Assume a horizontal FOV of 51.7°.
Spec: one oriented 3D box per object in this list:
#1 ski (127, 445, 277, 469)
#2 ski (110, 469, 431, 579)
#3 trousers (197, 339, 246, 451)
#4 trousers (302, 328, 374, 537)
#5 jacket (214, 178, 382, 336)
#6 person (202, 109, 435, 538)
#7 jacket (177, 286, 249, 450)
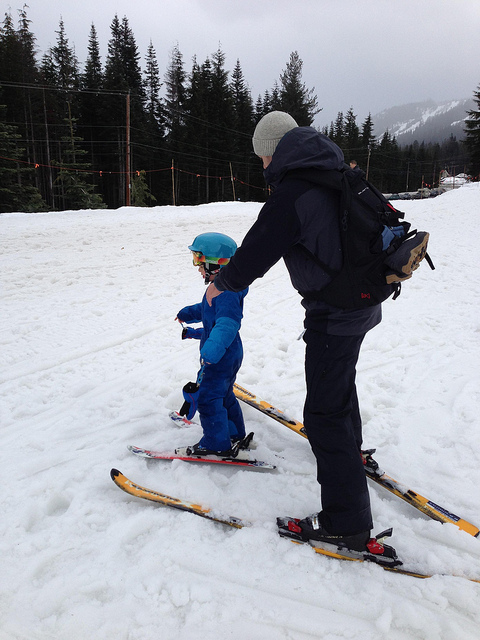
[{"bbox_3d":[-0.261,0.879,3.147,0.757,0.078,0.088,4,16,5],"label":"ski"},{"bbox_3d":[0.138,1.047,2.500,1.499,0.178,0.169,14,6,21],"label":"ski"},{"bbox_3d":[-0.167,0.465,3.290,0.565,0.612,0.423,0,23,-13],"label":"trousers"},{"bbox_3d":[0.470,0.461,2.425,0.367,1.207,0.350,7,-10,0],"label":"trousers"},{"bbox_3d":[0.275,-0.267,2.320,0.557,0.740,0.604,7,21,19],"label":"jacket"},{"bbox_3d":[0.407,0.088,2.357,0.847,1.942,0.454,2,14,13],"label":"person"},{"bbox_3d":[-0.104,0.291,3.218,0.614,0.904,0.528,-7,27,-30],"label":"jacket"}]
